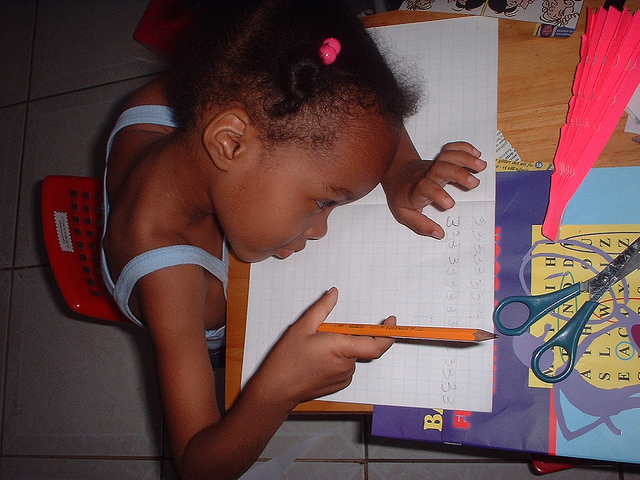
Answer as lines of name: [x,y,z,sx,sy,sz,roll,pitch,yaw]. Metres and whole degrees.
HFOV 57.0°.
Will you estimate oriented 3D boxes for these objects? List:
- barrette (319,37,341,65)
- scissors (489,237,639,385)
barrette: [0.014,-0.322,0.995,0.028,0.019,0.046,26,91,-7]
scissors: [0.473,0.146,1.064,0.302,0.065,0.179,-23,72,-2]
